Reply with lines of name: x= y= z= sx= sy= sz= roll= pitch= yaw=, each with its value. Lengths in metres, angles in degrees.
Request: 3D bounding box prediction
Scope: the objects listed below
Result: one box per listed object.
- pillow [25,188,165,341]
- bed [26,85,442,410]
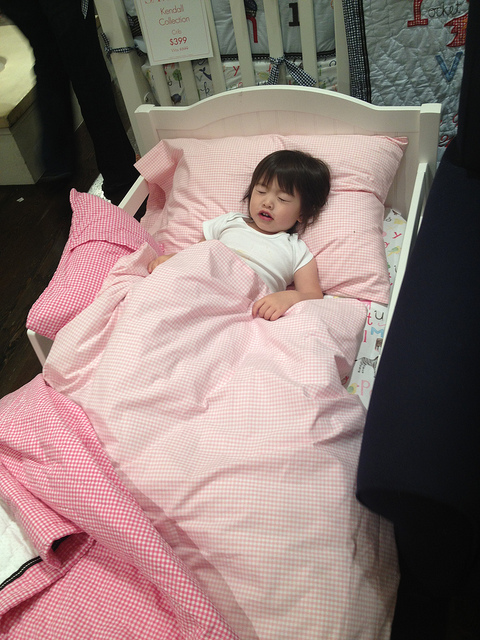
pillow: x=-0.422 y=-0.160 z=1.290 sx=0.116 sy=0.384 sz=0.396 roll=-26 pitch=39 yaw=36
bed: x=0.157 y=0.007 z=1.677 sx=1.110 sy=0.722 sz=1.162 roll=11 pitch=65 yaw=22
